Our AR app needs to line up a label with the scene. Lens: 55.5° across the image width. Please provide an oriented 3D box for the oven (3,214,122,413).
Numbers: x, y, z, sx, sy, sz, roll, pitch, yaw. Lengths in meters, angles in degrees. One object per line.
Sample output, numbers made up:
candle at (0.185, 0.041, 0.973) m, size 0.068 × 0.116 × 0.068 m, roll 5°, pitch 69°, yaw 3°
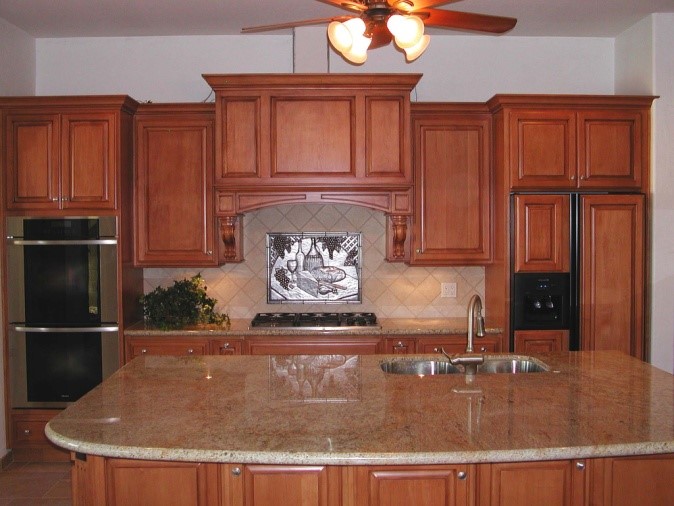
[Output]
oven at (-2.179, 0.472, 5.088) m, size 0.879 × 1.467 × 0.385 m, roll 0°, pitch 15°, yaw 1°

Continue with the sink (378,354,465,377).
sink at (0.518, 0.701, 4.048) m, size 0.290 × 0.100 × 0.222 m, roll 1°, pitch 3°, yaw 1°

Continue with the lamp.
lamp at (0.232, -1.181, 3.561) m, size 0.493 × 0.238 × 0.332 m, roll 5°, pitch 15°, yaw 20°
